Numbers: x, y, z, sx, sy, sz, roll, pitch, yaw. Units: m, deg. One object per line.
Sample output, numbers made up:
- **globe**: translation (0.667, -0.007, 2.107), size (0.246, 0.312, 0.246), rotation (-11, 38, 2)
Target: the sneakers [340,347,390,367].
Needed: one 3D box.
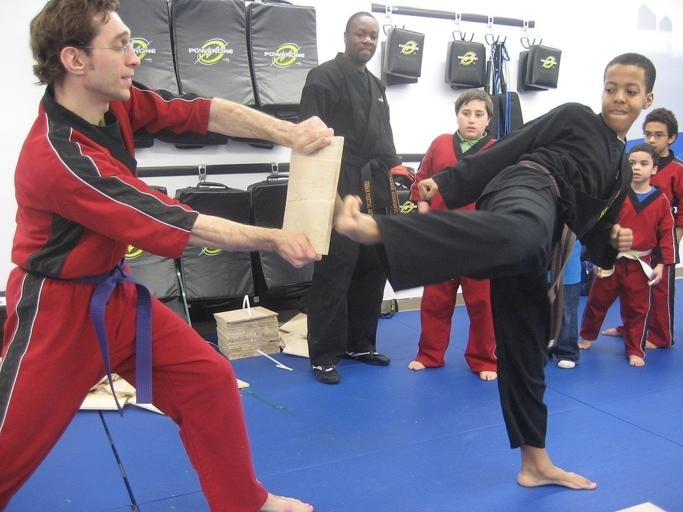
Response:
- **sneakers**: translation (0.160, 0.712, 4.363), size (0.362, 0.135, 0.123), rotation (2, -1, 16)

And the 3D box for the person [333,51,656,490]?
- **person**: translation (0.709, 0.108, 2.629), size (0.758, 1.949, 1.599), rotation (11, 18, 41)
